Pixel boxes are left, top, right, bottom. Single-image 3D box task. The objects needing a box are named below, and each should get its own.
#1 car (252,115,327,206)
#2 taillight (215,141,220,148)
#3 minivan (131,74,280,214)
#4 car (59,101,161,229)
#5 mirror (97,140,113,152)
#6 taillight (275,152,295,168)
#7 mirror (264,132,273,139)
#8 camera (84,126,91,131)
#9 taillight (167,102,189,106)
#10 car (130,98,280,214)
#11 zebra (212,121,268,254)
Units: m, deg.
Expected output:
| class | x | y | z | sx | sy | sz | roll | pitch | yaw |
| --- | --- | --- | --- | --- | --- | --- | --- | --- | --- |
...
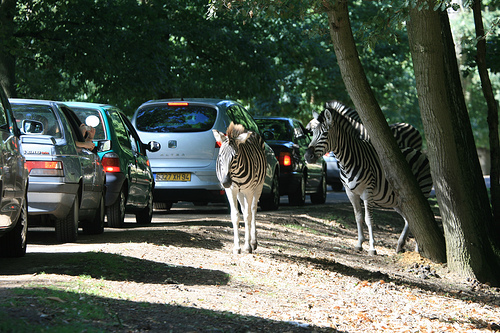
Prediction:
| class | x | y | z | sx | sy | sz | roll | pitch | yaw |
| --- | --- | --- | --- | --- | --- | --- | --- | --- | --- |
| car | 0.818 | -0.756 | 20.656 | 1.662 | 2.014 | 4.424 | 7 | 15 | 7 |
| taillight | -0.763 | -0.533 | 15.269 | 0.135 | 0.146 | 0.033 | 1 | 8 | -7 |
| minivan | -1.032 | -0.494 | 17.275 | 2.187 | 1.762 | 3.760 | -1 | 3 | 16 |
| car | -3.702 | -0.050 | 14.130 | 2.010 | 2.781 | 5.173 | 1 | -1 | -11 |
| mirror | -2.953 | -0.428 | 13.248 | 0.274 | 0.250 | 0.049 | 0 | 42 | -13 |
| taillight | 1.027 | -0.196 | 18.456 | 0.288 | 0.287 | 0.527 | 0 | 7 | 14 |
| mirror | 0.556 | -0.934 | 19.356 | 0.179 | 0.191 | 0.043 | -10 | -27 | -8 |
| camera | -3.246 | -0.783 | 13.096 | 0.097 | 0.093 | 0.170 | 1 | 6 | 9 |
| taillight | -1.736 | -1.519 | 15.710 | 0.421 | 0.080 | 0.074 | -3 | 23 | 7 |
| car | -1.111 | -0.543 | 18.321 | 3.183 | 2.996 | 5.978 | -2 | 7 | 11 |
| zebra | -0.175 | 0.405 | 12.354 | 0.771 | 2.413 | 1.465 | 9 | 5 | 27 |
